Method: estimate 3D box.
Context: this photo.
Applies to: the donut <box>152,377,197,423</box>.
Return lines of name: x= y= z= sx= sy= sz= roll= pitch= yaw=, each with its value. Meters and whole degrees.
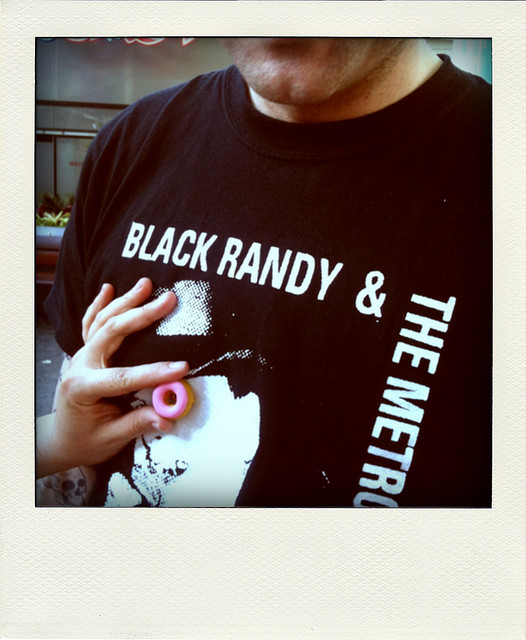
donut: x=-0.196 y=0.173 z=1.385 sx=0.098 sy=0.089 sz=0.036 roll=2 pitch=1 yaw=26
